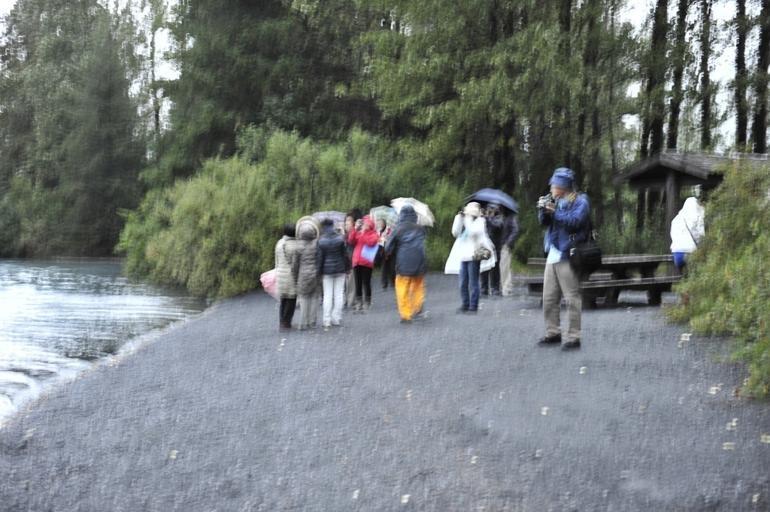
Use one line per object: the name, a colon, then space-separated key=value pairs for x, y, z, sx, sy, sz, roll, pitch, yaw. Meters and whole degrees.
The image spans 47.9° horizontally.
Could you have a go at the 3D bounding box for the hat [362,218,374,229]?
hat: x=-0.464 y=-0.845 z=22.209 sx=0.200 sy=0.342 sz=0.281 roll=4 pitch=-2 yaw=5

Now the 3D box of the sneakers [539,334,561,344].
sneakers: x=3.382 y=1.712 z=17.627 sx=0.372 sy=0.205 sz=0.218 roll=0 pitch=3 yaw=-5

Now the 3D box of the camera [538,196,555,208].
camera: x=3.156 y=-1.067 z=17.165 sx=0.229 sy=0.123 sz=0.227 roll=-18 pitch=18 yaw=-36

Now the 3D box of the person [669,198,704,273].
person: x=7.118 y=-0.445 z=20.278 sx=0.715 sy=1.734 sz=0.754 roll=1 pitch=12 yaw=20

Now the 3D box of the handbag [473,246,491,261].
handbag: x=2.342 y=-0.050 z=20.688 sx=0.455 sy=0.374 sz=0.225 roll=-13 pitch=15 yaw=-36

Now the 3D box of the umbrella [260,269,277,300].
umbrella: x=-3.118 y=0.789 z=22.987 sx=0.545 sy=0.687 sz=0.294 roll=9 pitch=45 yaw=14

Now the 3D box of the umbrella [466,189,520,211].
umbrella: x=2.962 y=-1.561 z=23.546 sx=0.803 sy=0.371 sz=0.903 roll=6 pitch=-2 yaw=20

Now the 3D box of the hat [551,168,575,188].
hat: x=3.593 y=-1.572 z=17.373 sx=0.428 sy=0.411 sz=0.427 roll=0 pitch=9 yaw=-6
